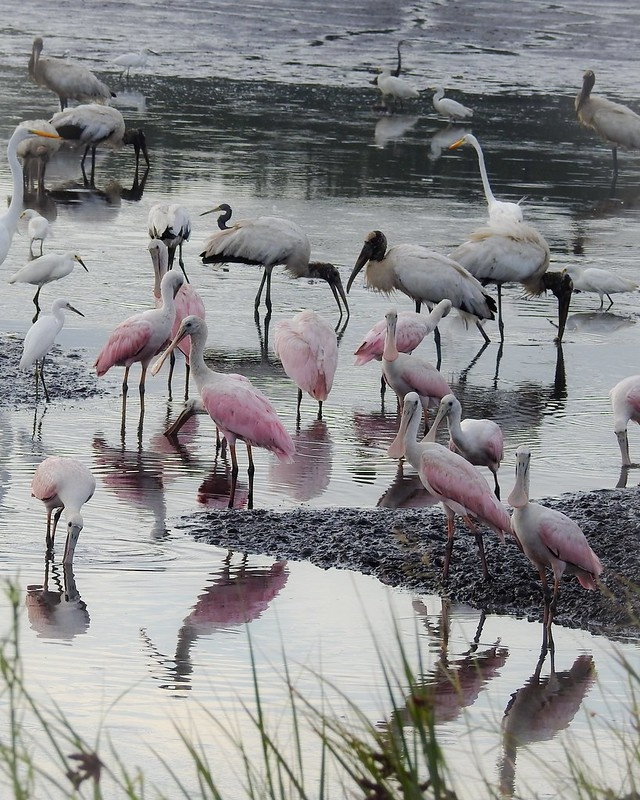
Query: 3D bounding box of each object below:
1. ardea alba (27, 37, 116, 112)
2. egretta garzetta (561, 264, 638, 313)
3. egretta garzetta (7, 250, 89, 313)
[{"bbox_3d":[-5.438,-7.140,28.775,1.695,1.516,1.056,-5,17,-32],"label":"ardea alba"},{"bbox_3d":[3.405,-1.399,15.835,0.817,0.638,0.808,-6,19,-3],"label":"egretta garzetta"},{"bbox_3d":[-2.793,-1.305,13.480,0.670,0.715,0.651,-10,27,-21],"label":"egretta garzetta"}]
